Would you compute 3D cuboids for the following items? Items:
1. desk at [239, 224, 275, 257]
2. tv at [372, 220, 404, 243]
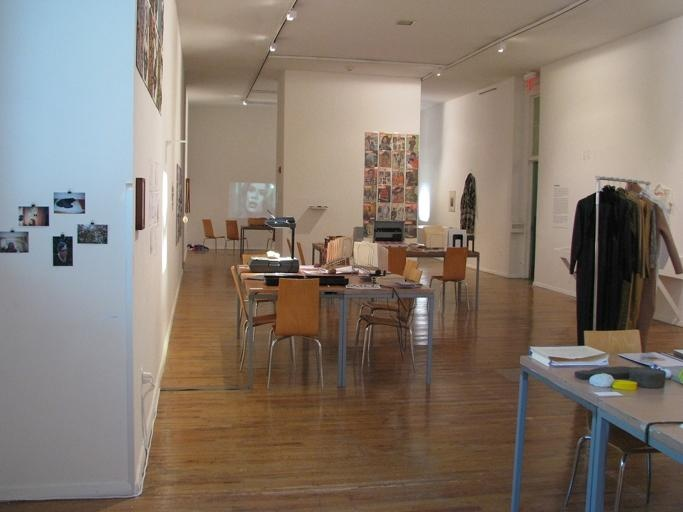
[{"bbox_3d":[-2.454,-0.453,15.381,0.882,0.928,0.719,-1,4,-14],"label":"desk"},{"bbox_3d":[0.826,-0.417,9.595,0.557,0.419,0.322,0,0,-9],"label":"tv"}]
